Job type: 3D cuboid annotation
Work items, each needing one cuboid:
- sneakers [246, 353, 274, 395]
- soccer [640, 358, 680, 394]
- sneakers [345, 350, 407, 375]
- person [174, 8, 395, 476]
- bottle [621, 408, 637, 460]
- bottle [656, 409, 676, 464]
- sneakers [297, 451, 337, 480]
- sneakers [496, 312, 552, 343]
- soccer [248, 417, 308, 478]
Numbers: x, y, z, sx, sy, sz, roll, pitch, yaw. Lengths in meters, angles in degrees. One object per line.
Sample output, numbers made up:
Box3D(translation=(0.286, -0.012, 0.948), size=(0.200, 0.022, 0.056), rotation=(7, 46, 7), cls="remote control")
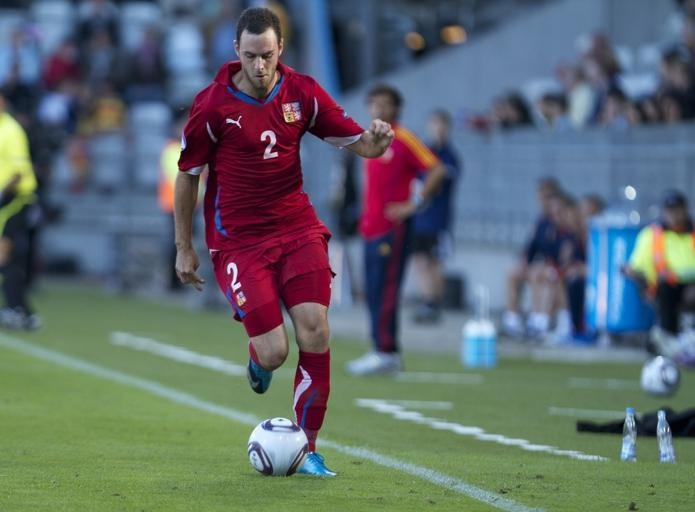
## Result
Box3D(translation=(-0.624, 0.857, 8.740), size=(0.120, 0.151, 0.346), rotation=(2, 27, -14), cls="sneakers")
Box3D(translation=(2.707, 1.054, 10.666), size=(0.288, 0.376, 0.317), rotation=(1, 8, 4), cls="soccer")
Box3D(translation=(0.285, 1.068, 12.004), size=(0.600, 0.291, 0.211), rotation=(1, 0, 0), cls="sneakers")
Box3D(translation=(-0.527, -0.103, 8.331), size=(1.300, 3.175, 0.572), rotation=(2, -2, -9), cls="person")
Box3D(translation=(2.009, 1.281, 8.677), size=(0.115, 0.374, 0.374), rotation=(1, -2, 13), cls="bottle")
Box3D(translation=(2.290, 1.299, 8.713), size=(0.130, 0.356, 0.419), rotation=(1, -2, 15), cls="bottle")
Box3D(translation=(-0.205, 1.429, 8.181), size=(0.334, 0.163, 0.119), rotation=(3, -6, 3), cls="sneakers")
Box3D(translation=(1.844, 0.756, 12.637), size=(0.279, 0.230, 0.525), rotation=(0, -1, 33), cls="sneakers")
Box3D(translation=(-0.502, 1.253, 8.208), size=(0.361, 0.388, 0.356), rotation=(-1, 12, -25), cls="soccer")
